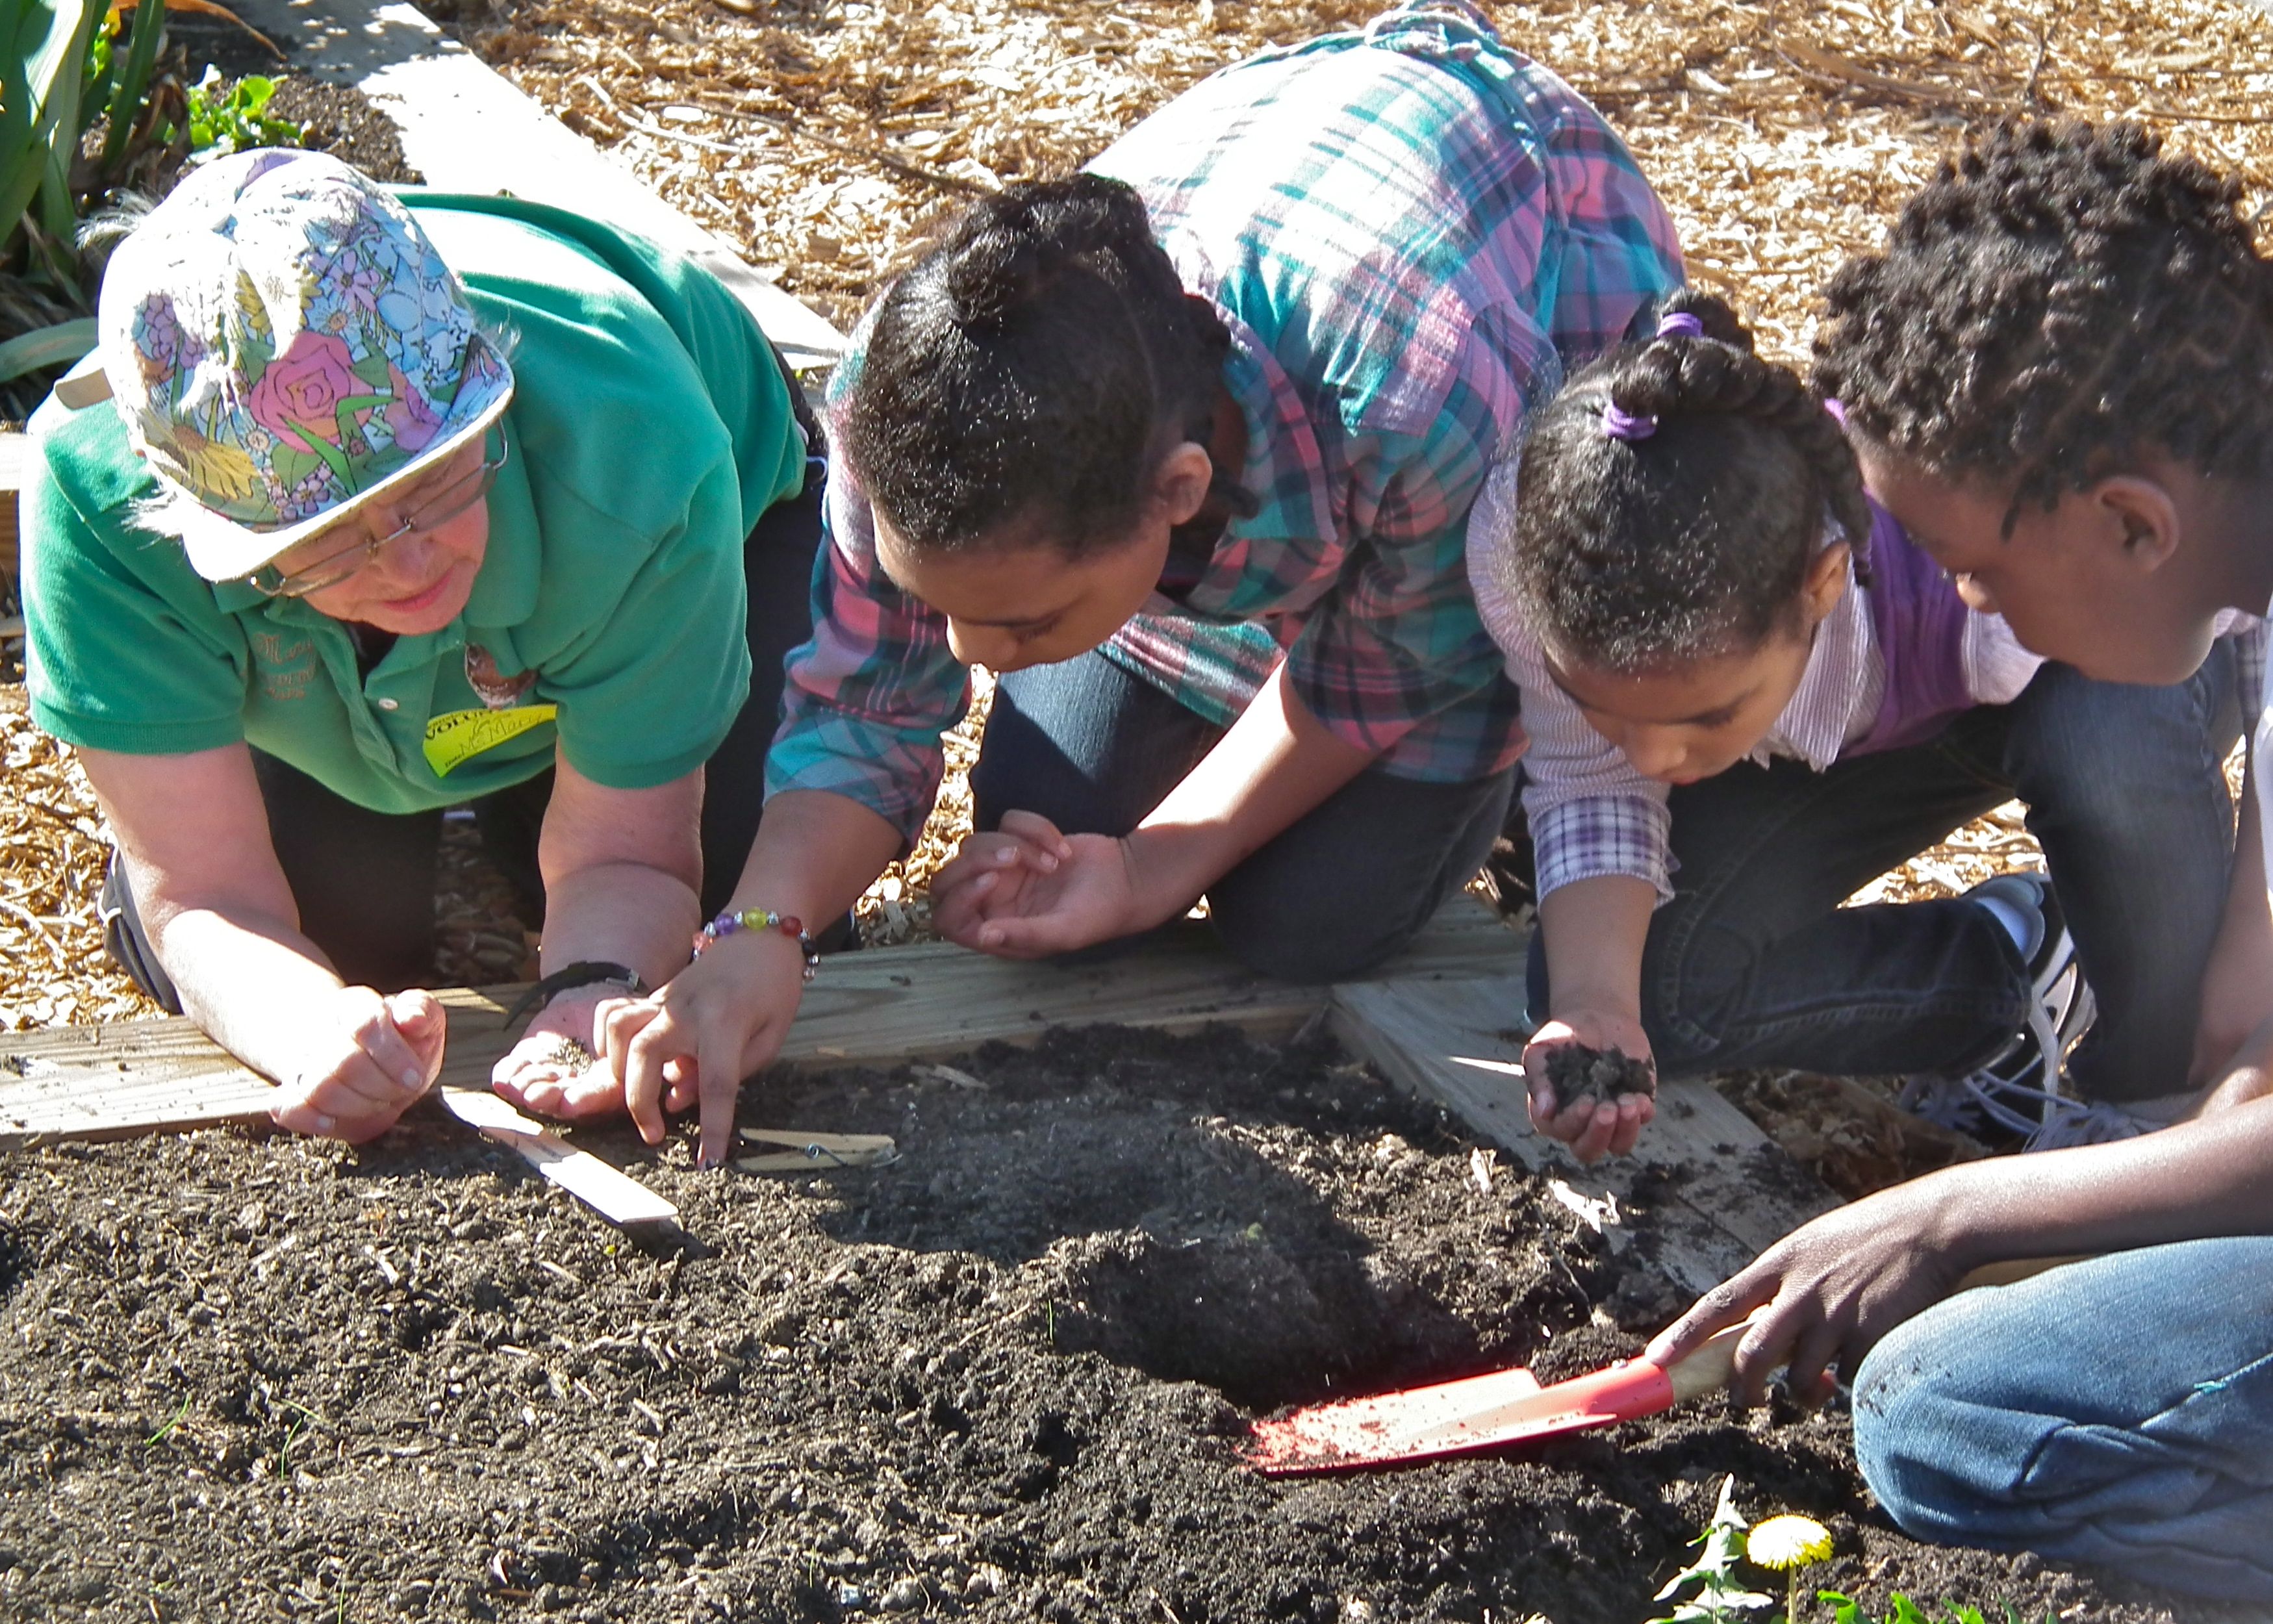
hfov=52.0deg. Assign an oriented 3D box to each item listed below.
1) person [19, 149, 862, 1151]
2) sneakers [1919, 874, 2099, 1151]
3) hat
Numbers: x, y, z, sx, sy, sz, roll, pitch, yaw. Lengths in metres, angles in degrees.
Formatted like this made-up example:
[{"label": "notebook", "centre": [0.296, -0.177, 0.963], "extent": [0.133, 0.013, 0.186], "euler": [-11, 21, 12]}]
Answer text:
[{"label": "person", "centre": [-1.113, -0.185, 3.739], "extent": [0.784, 1.382, 1.393], "euler": [7, 52, -1]}, {"label": "sneakers", "centre": [1.555, 0.382, 4.107], "extent": [0.189, 0.486, 0.246], "euler": [13, 10, -26]}, {"label": "hat", "centre": [-1.189, -0.636, 3.434], "extent": [0.479, 0.326, 0.631], "euler": [-37, 60, 4]}]
